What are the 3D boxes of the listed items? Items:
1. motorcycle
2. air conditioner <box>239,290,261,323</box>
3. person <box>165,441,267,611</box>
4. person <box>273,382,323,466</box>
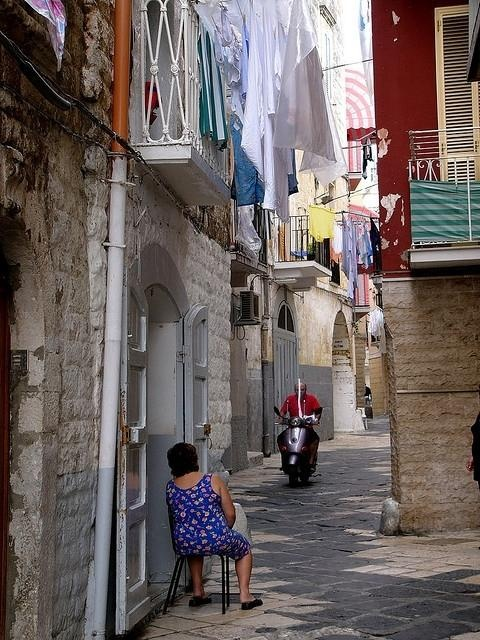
[{"bbox_3d":[0.981,2.182,11.769,0.591,1.190,0.875,-4,-5,30],"label":"motorcycle"},{"bbox_3d":[0.209,-0.028,14.794,0.328,0.993,0.794,-2,-5,11],"label":"air conditioner"},{"bbox_3d":[-0.216,1.331,4.784,0.417,1.356,0.491,-1,7,37],"label":"person"},{"bbox_3d":[1.017,2.205,12.359,0.693,1.520,1.806,-1,-10,13],"label":"person"}]
